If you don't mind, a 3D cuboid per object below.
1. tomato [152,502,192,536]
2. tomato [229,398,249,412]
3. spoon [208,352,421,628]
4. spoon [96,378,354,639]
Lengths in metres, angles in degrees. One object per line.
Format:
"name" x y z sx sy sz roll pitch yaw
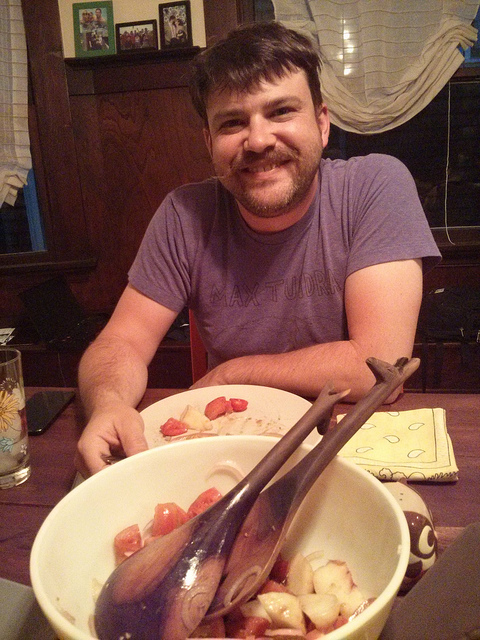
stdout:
"tomato" -0.072 0.199 0.508 0.026 0.020 0.035 -1 15 7
"tomato" -0.002 0.158 0.951 0.021 0.011 0.026 -3 20 -33
"spoon" 0.103 0.115 0.550 0.082 0.056 0.403 23 56 32
"spoon" -0.016 0.139 0.453 0.076 0.035 0.253 13 37 29
